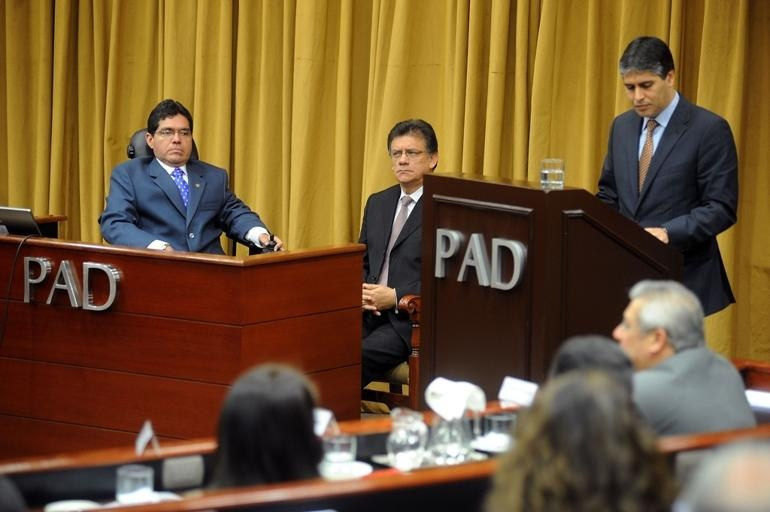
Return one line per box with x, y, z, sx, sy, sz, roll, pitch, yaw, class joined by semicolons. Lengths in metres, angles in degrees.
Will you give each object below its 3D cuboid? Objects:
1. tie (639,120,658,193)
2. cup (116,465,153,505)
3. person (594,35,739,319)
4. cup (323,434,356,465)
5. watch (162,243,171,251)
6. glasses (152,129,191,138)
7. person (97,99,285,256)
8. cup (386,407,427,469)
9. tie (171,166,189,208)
1.394;-0.553;4.082;0.063;0.479;0.067;7;-13;32;tie
-0.761;0.685;2.339;0.098;0.088;0.100;0;2;0;cup
1.454;-0.584;3.990;0.693;1.339;0.391;-1;0;20;person
-0.145;0.620;2.492;0.083;0.092;0.091;0;-1;-15;cup
-1.247;-0.054;4.377;0.026;0.028;0.025;-3;38;15;watch
-1.334;-0.778;4.828;0.222;0.042;0.086;-1;1;-19;glasses
-1.273;-0.489;5.245;0.980;1.445;1.088;-4;-9;-33;person
0.076;0.608;2.539;0.157;0.241;0.164;3;-13;1;cup
-1.297;-0.467;4.886;0.072;0.343;0.052;-6;-30;-16;tie
